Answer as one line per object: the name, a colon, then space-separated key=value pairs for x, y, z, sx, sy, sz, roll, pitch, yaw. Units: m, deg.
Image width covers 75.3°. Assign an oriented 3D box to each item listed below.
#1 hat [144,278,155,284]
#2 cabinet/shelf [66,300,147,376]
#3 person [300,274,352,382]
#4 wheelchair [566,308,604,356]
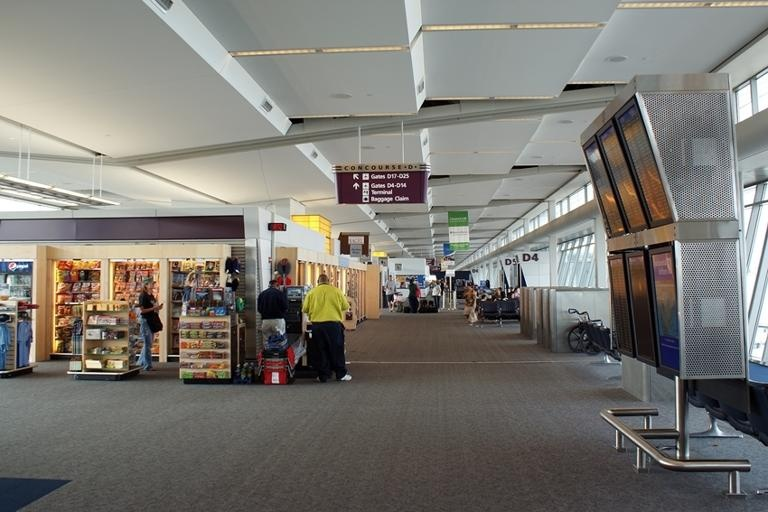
hat: x=-5.282 y=0.561 z=11.210 sx=0.118 sy=0.097 sz=0.162 roll=2 pitch=0 yaw=4
cabinet/shelf: x=-6.116 y=1.908 z=11.418 sx=1.637 sy=1.845 sz=1.618 roll=0 pitch=-7 yaw=-1
person: x=-1.199 y=1.474 z=10.435 sx=0.995 sy=1.517 sz=0.763 roll=0 pitch=0 yaw=-7
wheelchair: x=5.323 y=1.967 z=12.784 sx=1.057 sy=0.898 sz=1.090 roll=4 pitch=5 yaw=-26
